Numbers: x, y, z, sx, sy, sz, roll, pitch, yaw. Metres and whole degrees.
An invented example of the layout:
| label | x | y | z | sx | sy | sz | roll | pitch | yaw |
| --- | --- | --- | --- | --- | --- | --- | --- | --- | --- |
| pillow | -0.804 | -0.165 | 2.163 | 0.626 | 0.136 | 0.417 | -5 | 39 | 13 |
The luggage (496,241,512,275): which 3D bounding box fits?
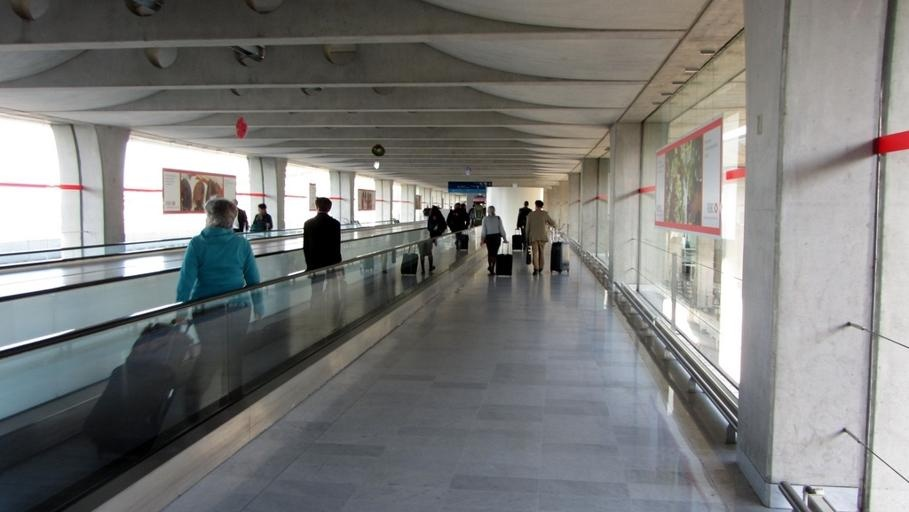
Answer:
| label | x | y | z | sx | sy | sz | roll | pitch | yaw |
| --- | --- | --- | --- | --- | --- | --- | --- | --- | --- |
| luggage | 1.423 | 0.099 | 16.427 | 0.510 | 0.994 | 0.351 | 2 | 3 | -10 |
